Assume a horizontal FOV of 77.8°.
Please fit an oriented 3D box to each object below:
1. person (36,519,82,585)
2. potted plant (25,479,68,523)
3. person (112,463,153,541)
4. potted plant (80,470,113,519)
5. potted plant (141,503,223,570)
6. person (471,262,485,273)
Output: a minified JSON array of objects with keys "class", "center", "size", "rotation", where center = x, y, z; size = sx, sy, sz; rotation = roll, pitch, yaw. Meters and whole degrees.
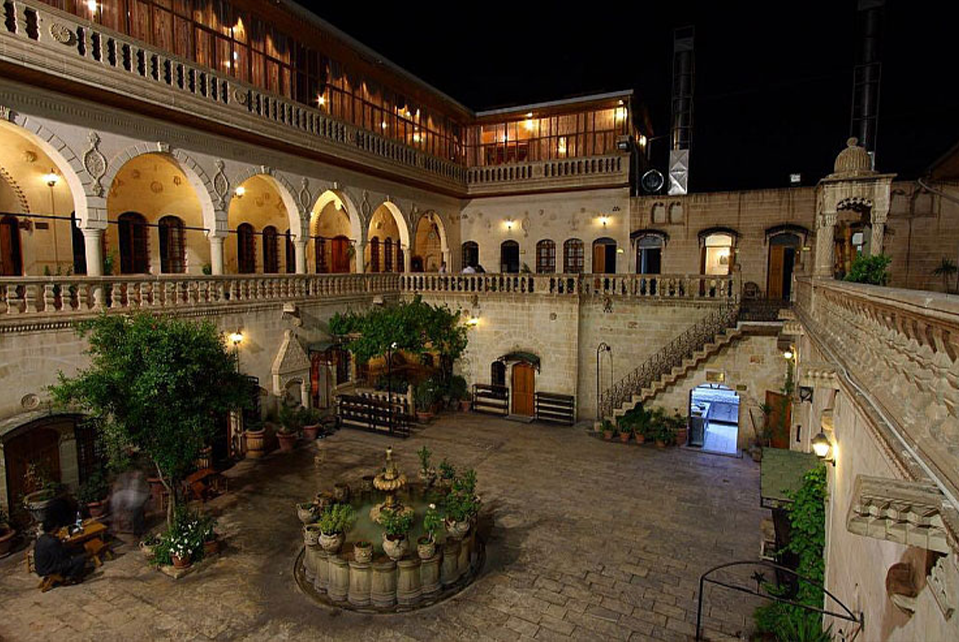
[{"class":"person","center":[-10.379,5.717,14.776],"size":[0.970,1.558,0.993],"rotation":[0,1,19]},{"class":"potted plant","center":[-11.830,4.790,16.068],"size":[1.040,0.734,1.029],"rotation":[2,3,-4]},{"class":"person","center":[-9.857,5.108,16.879],"size":[1.206,1.673,0.689],"rotation":[-11,-34,-38]},{"class":"potted plant","center":[-10.694,4.835,16.637],"size":[0.759,1.218,0.440],"rotation":[-4,6,-41]},{"class":"potted plant","center":[-7.696,5.605,15.777],"size":[1.787,1.211,1.527],"rotation":[1,5,1]},{"class":"person","center":[-0.030,-2.683,30.208],"size":[0.773,0.441,1.075],"rotation":[0,12,-1]}]
